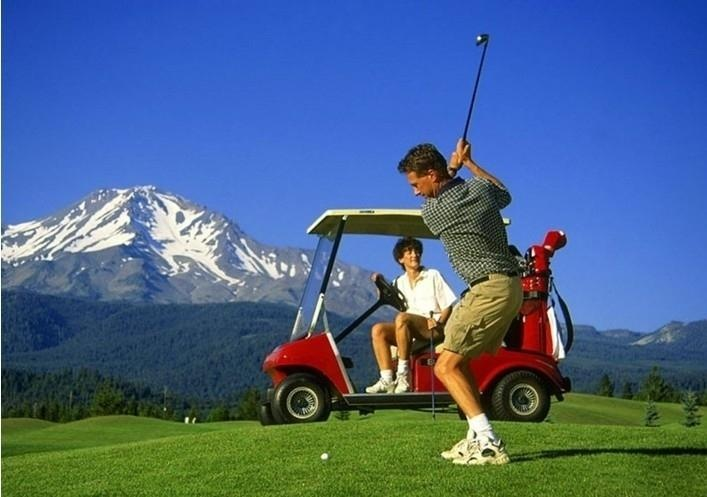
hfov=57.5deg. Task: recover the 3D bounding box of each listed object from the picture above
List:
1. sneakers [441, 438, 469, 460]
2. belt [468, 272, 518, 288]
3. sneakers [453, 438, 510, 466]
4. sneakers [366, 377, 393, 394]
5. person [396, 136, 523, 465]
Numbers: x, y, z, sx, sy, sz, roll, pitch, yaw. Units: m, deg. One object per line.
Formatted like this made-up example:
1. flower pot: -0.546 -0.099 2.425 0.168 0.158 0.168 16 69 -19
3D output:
1. sneakers: 1.050 1.975 6.335 0.359 0.151 0.136 -12 -2 11
2. belt: 1.394 0.309 6.305 0.272 0.106 0.206 -7 -3 29
3. sneakers: 1.238 1.941 6.160 0.557 0.288 0.209 -1 -11 2
4. sneakers: 0.383 2.005 9.453 0.336 0.167 0.207 -1 -11 17
5. person: 1.196 0.391 6.394 0.905 3.329 0.658 -5 -15 15
